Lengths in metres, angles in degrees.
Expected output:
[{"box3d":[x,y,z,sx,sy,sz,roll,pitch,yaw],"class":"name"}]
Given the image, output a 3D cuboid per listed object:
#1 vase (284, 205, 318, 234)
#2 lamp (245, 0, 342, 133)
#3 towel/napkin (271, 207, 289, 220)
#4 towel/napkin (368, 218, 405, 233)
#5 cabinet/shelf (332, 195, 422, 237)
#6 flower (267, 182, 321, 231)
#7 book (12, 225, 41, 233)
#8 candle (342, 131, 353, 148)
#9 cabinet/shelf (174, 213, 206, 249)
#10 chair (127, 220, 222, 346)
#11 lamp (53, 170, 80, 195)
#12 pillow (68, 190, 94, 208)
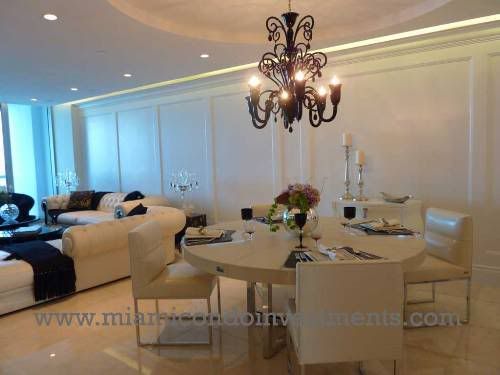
[{"box3d":[0.448,0.286,3.401,0.226,0.177,0.261,0,0,6],"class":"vase"},{"box3d":[0.489,-1.318,4.175,0.853,1.354,2.348,-2,10,9],"class":"lamp"},{"box3d":[0.284,0.258,3.683,0.133,0.068,0.181,-3,5,6],"class":"towel/napkin"},{"box3d":[1.241,0.346,3.431,0.166,0.062,0.168,0,5,-6],"class":"towel/napkin"},{"box3d":[1.396,0.311,4.092,0.460,0.438,0.200,-1,1,29],"class":"cabinet/shelf"},{"box3d":[0.389,0.152,3.380,0.462,0.392,0.397,-4,8,-1],"class":"flower"},{"box3d":[-3.219,0.616,5.535,0.206,0.049,0.203,2,2,39],"class":"book"},{"box3d":[1.279,-0.667,5.117,0.177,0.204,0.179,0,6,7],"class":"candle"},{"box3d":[-0.746,0.514,4.529,0.296,0.516,0.553,9,-7,-18],"class":"cabinet/shelf"},{"box3d":[-0.548,0.834,4.026,1.026,1.490,1.041,-1,5,0],"class":"chair"},{"box3d":[-4.022,-0.114,8.363,0.467,0.639,0.403,-2,13,6],"class":"lamp"},{"box3d":[-3.413,0.265,7.705,0.395,0.373,0.120,5,-16,1],"class":"pillow"}]
